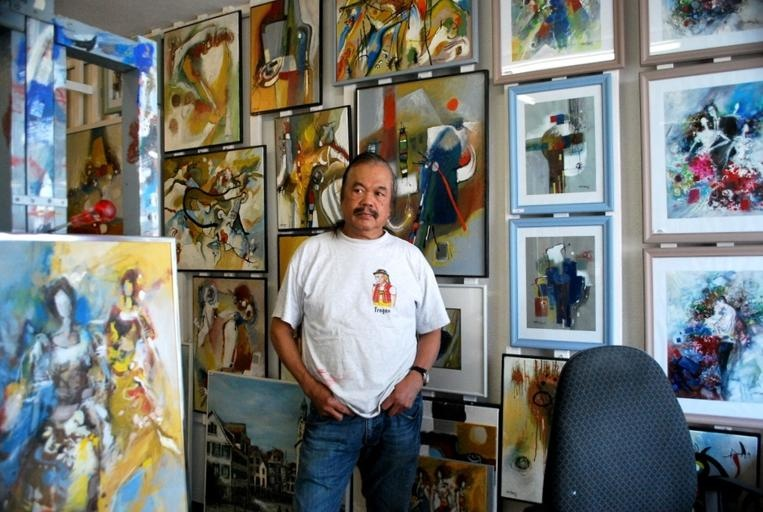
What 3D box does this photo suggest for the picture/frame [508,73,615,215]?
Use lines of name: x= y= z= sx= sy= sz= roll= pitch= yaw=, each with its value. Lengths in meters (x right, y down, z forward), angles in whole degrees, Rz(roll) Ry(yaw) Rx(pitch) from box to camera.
picture/frame: x=0.830 y=-0.509 z=3.120 sx=0.499 sy=0.793 sz=0.067 roll=-2 pitch=-24 yaw=17

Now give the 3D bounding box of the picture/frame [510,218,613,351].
picture/frame: x=0.855 y=0.131 z=3.098 sx=0.519 sy=0.803 sz=0.073 roll=-1 pitch=-5 yaw=18
